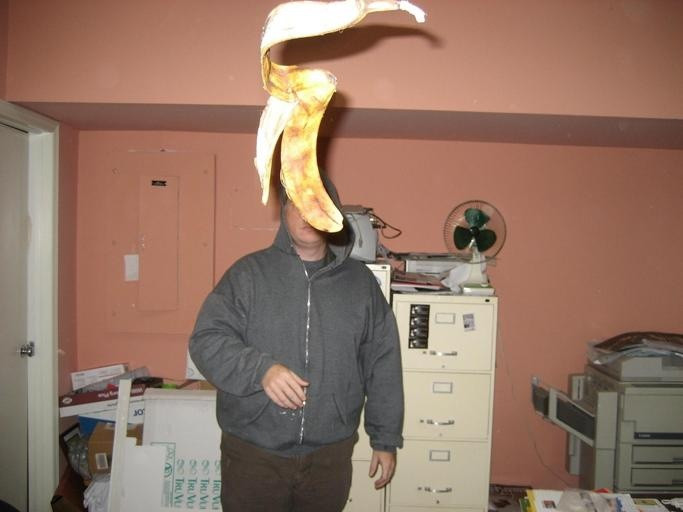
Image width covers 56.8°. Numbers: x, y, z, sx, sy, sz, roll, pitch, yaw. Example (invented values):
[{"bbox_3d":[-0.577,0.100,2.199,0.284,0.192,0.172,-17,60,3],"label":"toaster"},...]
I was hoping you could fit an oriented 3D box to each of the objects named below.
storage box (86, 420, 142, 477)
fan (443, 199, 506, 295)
[{"bbox_3d":[-1.494,1.269,4.155,0.391,0.330,0.186,1,-3,0],"label":"storage box"},{"bbox_3d":[0.854,-0.079,4.107,0.373,0.562,0.299,0,10,4],"label":"fan"}]
